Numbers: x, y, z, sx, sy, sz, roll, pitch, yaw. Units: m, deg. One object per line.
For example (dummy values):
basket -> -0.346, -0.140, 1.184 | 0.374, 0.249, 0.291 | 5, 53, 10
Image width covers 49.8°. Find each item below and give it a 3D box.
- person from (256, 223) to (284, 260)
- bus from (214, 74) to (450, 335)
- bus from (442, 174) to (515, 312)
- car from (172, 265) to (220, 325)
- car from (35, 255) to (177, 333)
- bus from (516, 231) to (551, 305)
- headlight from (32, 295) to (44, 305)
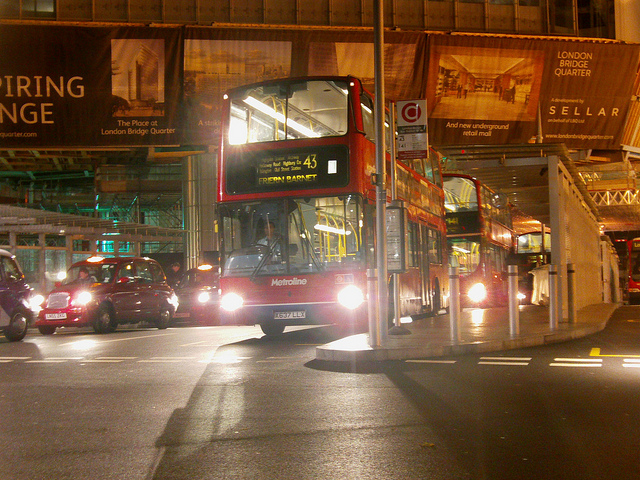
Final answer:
person -> -1.132, 0.020, 15.624 | 0.667, 1.006, 0.400 | -6, -7, 42
bus -> 1.261, -0.589, 20.667 | 3.306, 6.248, 11.365 | -2, -4, 19
bus -> 7.020, 0.206, 29.427 | 2.349, 5.254, 10.906 | -2, -3, 20
car -> -4.484, 1.968, 24.927 | 1.664, 1.988, 3.436 | -2, -7, 18
car -> -6.393, 1.717, 21.087 | 1.902, 1.867, 4.161 | -4, -9, 24
bus -> 12.549, 1.234, 40.108 | 2.626, 4.898, 4.470 | -2, -3, 21
headlight -> -8.185, 1.718, 19.929 | 0.076, 0.392, 0.382 | 8, 2, 25
